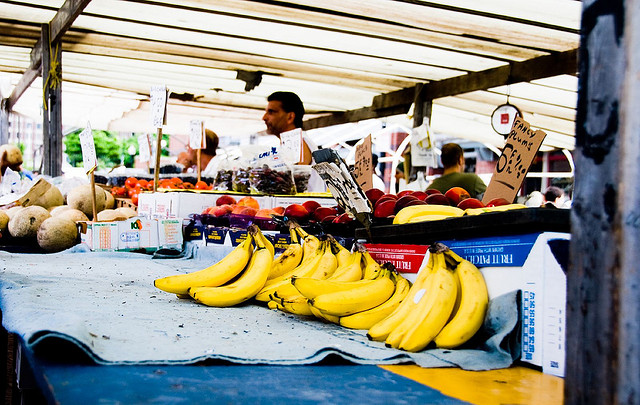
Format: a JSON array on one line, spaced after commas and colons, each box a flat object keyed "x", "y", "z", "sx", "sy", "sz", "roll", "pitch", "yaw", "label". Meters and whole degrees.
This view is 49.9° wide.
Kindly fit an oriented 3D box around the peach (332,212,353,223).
[{"x": 0.144, "y": 0.114, "z": 4.709, "sx": 0.108, "sy": 0.062, "sz": 0.035, "roll": -24, "pitch": -29, "yaw": 23, "label": "peach"}]

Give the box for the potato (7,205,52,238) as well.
[{"x": -2.687, "y": 0.171, "z": 6.283, "sx": 0.276, "sy": 0.241, "sz": 0.302, "roll": -3, "pitch": 7, "yaw": -11, "label": "potato"}]

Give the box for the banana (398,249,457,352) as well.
[{"x": 0.629, "y": 0.567, "z": 3.830, "sx": 0.181, "sy": 0.634, "sz": 0.206, "roll": 6, "pitch": -26, "yaw": 40, "label": "banana"}]

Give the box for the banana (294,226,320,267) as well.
[{"x": -0.092, "y": 0.285, "z": 4.452, "sx": 0.107, "sy": 0.084, "sz": 0.310, "roll": 43, "pitch": 23, "yaw": -10, "label": "banana"}]

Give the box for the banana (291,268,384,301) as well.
[{"x": 0.058, "y": 0.474, "z": 4.028, "sx": 0.517, "sy": 0.179, "sz": 0.110, "roll": -10, "pitch": 24, "yaw": -41, "label": "banana"}]

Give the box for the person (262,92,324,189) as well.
[{"x": -0.316, "y": -0.774, "z": 6.998, "sx": 0.530, "sy": 0.874, "sz": 1.038, "roll": 4, "pitch": -3, "yaw": -10, "label": "person"}]

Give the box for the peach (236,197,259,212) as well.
[{"x": -0.610, "y": 0.017, "z": 5.812, "sx": 0.125, "sy": 0.132, "sz": 0.127, "roll": -1, "pitch": -2, "yaw": -11, "label": "peach"}]

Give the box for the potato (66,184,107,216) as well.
[{"x": -2.367, "y": -0.072, "z": 6.949, "sx": 0.394, "sy": 0.397, "sz": 0.370, "roll": -5, "pitch": 3, "yaw": -40, "label": "potato"}]

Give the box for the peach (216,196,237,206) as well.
[{"x": -0.832, "y": -0.015, "z": 5.991, "sx": 0.096, "sy": 0.100, "sz": 0.098, "roll": -1, "pitch": 0, "yaw": 3, "label": "peach"}]

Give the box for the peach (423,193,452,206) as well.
[{"x": 0.741, "y": -0.018, "z": 4.393, "sx": 0.157, "sy": 0.071, "sz": 0.134, "roll": 3, "pitch": -3, "yaw": 8, "label": "peach"}]

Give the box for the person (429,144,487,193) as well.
[{"x": 1.558, "y": -0.358, "z": 8.037, "sx": 0.430, "sy": 0.642, "sz": 0.802, "roll": 1, "pitch": -5, "yaw": -40, "label": "person"}]

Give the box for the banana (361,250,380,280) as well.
[{"x": 0.299, "y": 0.379, "z": 4.158, "sx": 0.134, "sy": 0.067, "sz": 0.203, "roll": 17, "pitch": 31, "yaw": 1, "label": "banana"}]

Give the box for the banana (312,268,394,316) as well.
[{"x": 0.208, "y": 0.546, "z": 3.966, "sx": 0.539, "sy": 0.190, "sz": 0.151, "roll": -22, "pitch": 13, "yaw": 11, "label": "banana"}]

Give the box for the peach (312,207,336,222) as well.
[{"x": 0.014, "y": 0.084, "z": 5.016, "sx": 0.099, "sy": 0.076, "sz": 0.131, "roll": 2, "pitch": 5, "yaw": 5, "label": "peach"}]

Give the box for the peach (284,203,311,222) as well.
[{"x": -0.173, "y": 0.074, "z": 5.056, "sx": 0.151, "sy": 0.116, "sz": 0.119, "roll": 23, "pitch": 10, "yaw": -33, "label": "peach"}]

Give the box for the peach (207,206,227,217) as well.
[{"x": -0.838, "y": 0.064, "z": 5.617, "sx": 0.096, "sy": 0.055, "sz": 0.097, "roll": -1, "pitch": 3, "yaw": -32, "label": "peach"}]

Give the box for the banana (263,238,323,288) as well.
[{"x": -0.173, "y": 0.392, "z": 4.348, "sx": 0.117, "sy": 0.344, "sz": 0.063, "roll": 47, "pitch": -2, "yaw": -22, "label": "banana"}]

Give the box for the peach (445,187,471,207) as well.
[{"x": 0.905, "y": -0.035, "z": 4.584, "sx": 0.116, "sy": 0.086, "sz": 0.142, "roll": 0, "pitch": 2, "yaw": -5, "label": "peach"}]
